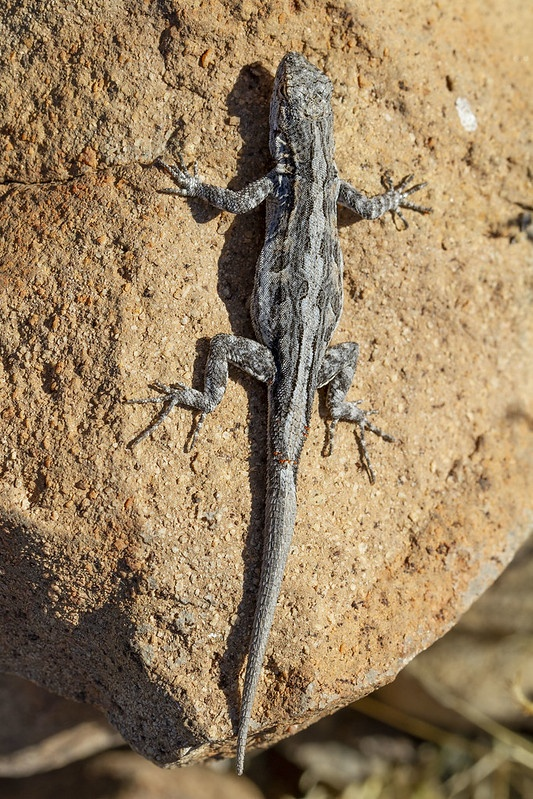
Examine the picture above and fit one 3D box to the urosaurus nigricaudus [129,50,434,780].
[{"bbox_3d":[-0.002,0.054,6.418,1.912,0.606,4.840,3,96,-22],"label":"urosaurus nigricaudus"}]
